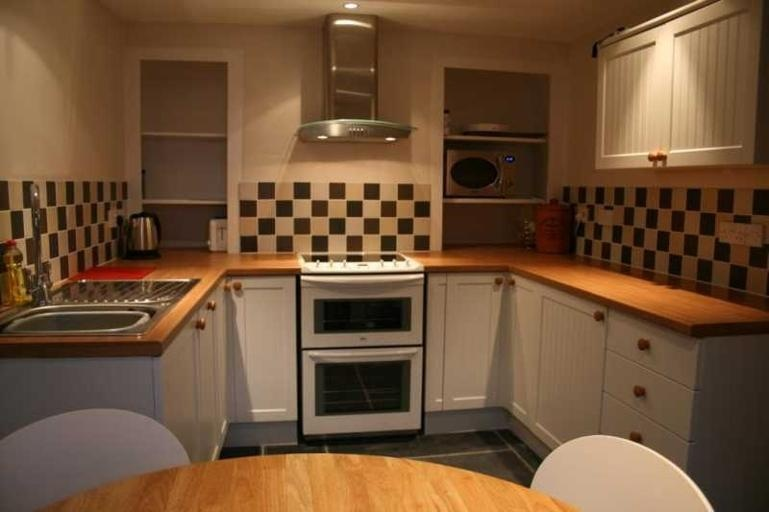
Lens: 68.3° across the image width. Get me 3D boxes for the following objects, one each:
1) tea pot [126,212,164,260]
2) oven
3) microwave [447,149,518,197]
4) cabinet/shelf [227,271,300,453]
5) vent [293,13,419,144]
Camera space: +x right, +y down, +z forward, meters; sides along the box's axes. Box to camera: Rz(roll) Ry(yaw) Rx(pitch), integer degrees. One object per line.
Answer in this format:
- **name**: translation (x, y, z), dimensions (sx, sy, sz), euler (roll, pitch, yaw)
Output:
- **tea pot**: translation (-1.562, -0.140, 3.699), dimensions (0.208, 0.287, 0.219), euler (2, 8, 0)
- **oven**: translation (-0.156, 0.597, 3.781), dimensions (0.911, 1.060, 0.917), euler (-2, 4, -25)
- **microwave**: translation (0.690, -0.572, 4.067), dimensions (0.477, 0.306, 0.333), euler (0, 5, -9)
- **cabinet/shelf**: translation (-0.734, 0.558, 3.435), dimensions (0.409, 0.877, 0.116), euler (-1, 8, -17)
- **vent**: translation (-0.205, -1.125, 3.854), dimensions (0.810, 0.800, 0.756), euler (1, 9, -3)
